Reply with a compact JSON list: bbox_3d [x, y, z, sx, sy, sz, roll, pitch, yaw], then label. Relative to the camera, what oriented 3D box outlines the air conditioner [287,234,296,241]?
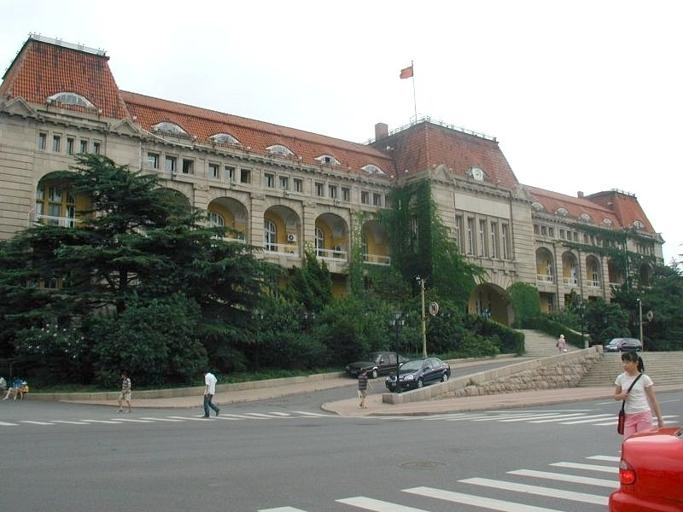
[{"bbox_3d":[-3.899,-1.401,56.703,0.524,0.542,0.553,-5,-6,31],"label":"air conditioner"}]

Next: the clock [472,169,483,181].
[{"bbox_3d":[12.273,-7.293,65.584,0.293,1.340,1.625,-11,-14,38],"label":"clock"}]

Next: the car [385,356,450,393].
[{"bbox_3d":[3.696,6.022,37.441,1.536,1.758,4.895,-11,-14,35],"label":"car"}]

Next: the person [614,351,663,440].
[{"bbox_3d":[7.119,3.315,17.753,0.984,2.016,0.790,-6,-12,18],"label":"person"}]

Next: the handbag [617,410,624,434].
[{"bbox_3d":[6.719,3.972,17.579,0.182,0.545,0.421,-6,-12,19],"label":"handbag"}]
